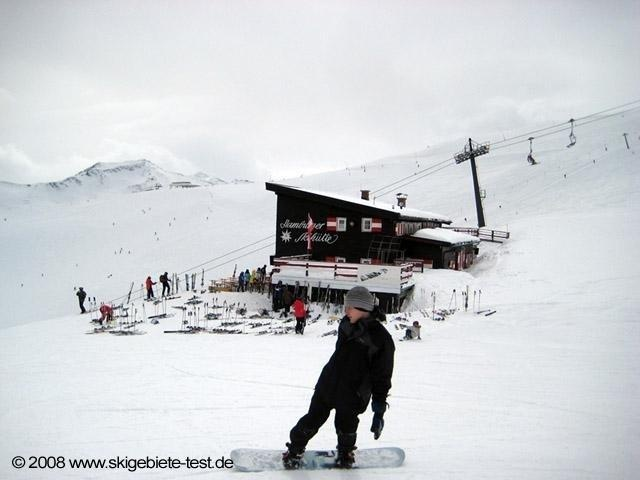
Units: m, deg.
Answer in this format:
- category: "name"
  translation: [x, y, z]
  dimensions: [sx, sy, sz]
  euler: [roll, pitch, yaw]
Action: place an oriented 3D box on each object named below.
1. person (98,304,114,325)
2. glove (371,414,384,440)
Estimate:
- category: "person"
  translation: [-8.604, 2.963, 24.047]
  dimensions: [0.692, 1.176, 0.838]
  euler: [1, 1, -22]
- category: "glove"
  translation: [1.147, 3.705, 11.916]
  dimensions: [0.221, 0.590, 0.300]
  euler: [1, 10, 5]
